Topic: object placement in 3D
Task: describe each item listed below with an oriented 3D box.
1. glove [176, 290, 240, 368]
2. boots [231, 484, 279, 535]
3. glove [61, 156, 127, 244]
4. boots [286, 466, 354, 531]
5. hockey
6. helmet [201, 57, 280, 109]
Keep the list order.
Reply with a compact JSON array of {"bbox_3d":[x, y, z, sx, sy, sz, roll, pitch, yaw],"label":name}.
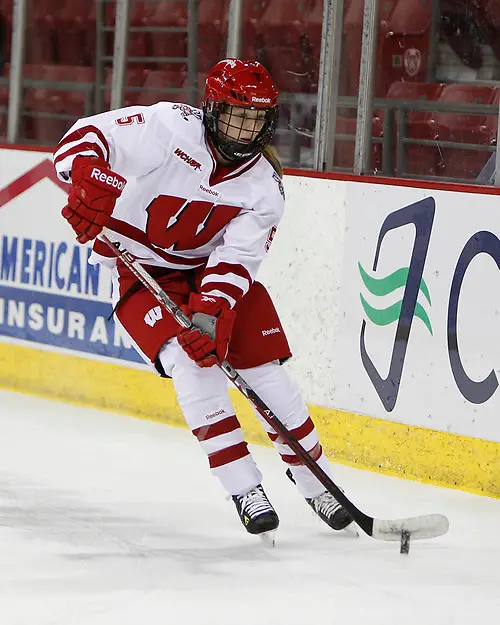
[{"bbox_3d":[-0.090,0.041,1.751,0.175,0.145,0.075,11,6,27],"label":"glove"},{"bbox_3d":[0.011,0.461,1.829,0.058,0.059,0.159,-28,13,-8],"label":"boots"},{"bbox_3d":[-0.356,-0.237,1.657,0.139,0.187,0.068,25,2,-17],"label":"glove"},{"bbox_3d":[0.180,0.465,1.995,0.204,0.069,0.087,48,5,38],"label":"boots"},{"bbox_3d":[0.121,0.211,2.177,0.188,1.044,0.125,-45,2,-26],"label":"hockey"},{"bbox_3d":[-0.027,-0.501,1.757,0.134,0.132,0.161,-3,9,-30],"label":"helmet"}]
